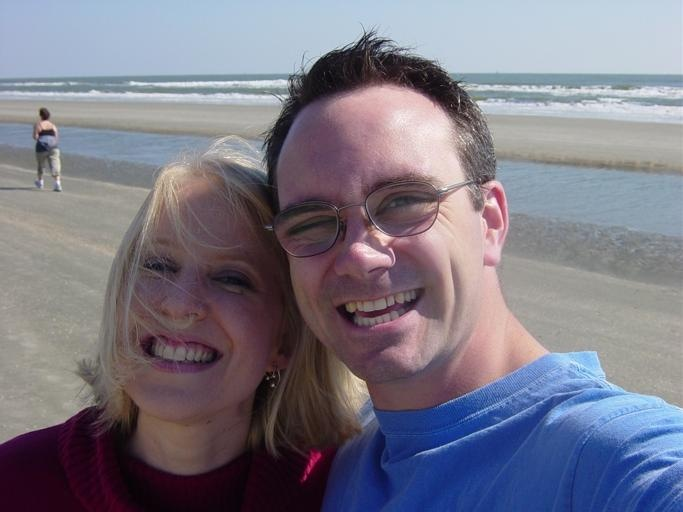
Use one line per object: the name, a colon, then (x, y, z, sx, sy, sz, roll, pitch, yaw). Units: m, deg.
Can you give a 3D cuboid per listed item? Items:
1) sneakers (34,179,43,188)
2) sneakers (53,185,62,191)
sneakers: (-7.162, -1.718, 15.170, 0.155, 0.202, 0.453, -1, 2, -25)
sneakers: (-6.426, -1.542, 14.530, 0.108, 0.138, 0.300, 0, 0, -17)
